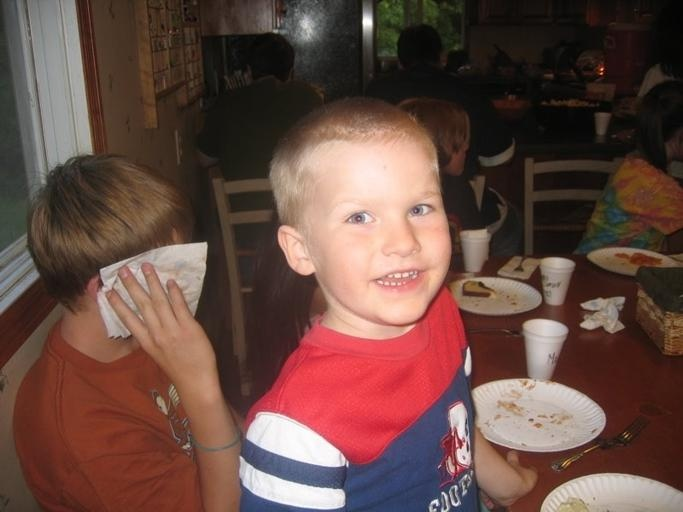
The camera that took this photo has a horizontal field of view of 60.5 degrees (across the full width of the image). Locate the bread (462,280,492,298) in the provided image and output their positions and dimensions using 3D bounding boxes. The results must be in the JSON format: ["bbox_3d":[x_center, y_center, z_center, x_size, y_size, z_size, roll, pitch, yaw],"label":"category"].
[{"bbox_3d":[0.494,0.117,2.117,0.075,0.030,0.061,3,14,-3],"label":"bread"}]

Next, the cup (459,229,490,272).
[{"bbox_3d":[0.523,-0.020,2.305,0.106,0.127,0.113,-2,18,1],"label":"cup"}]

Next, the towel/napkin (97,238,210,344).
[{"bbox_3d":[-0.477,0.088,1.430,0.227,0.198,0.040,-16,32,-23],"label":"towel/napkin"}]

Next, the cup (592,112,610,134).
[{"bbox_3d":[1.851,-0.930,4.175,0.140,0.145,0.138,1,7,0],"label":"cup"}]

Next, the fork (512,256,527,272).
[{"bbox_3d":[0.709,0.030,2.332,0.032,0.012,0.110,-2,21,20],"label":"fork"}]

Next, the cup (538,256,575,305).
[{"bbox_3d":[0.731,0.086,2.004,0.145,0.165,0.146,1,5,0],"label":"cup"}]

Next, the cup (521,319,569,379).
[{"bbox_3d":[0.571,0.261,1.733,0.149,0.167,0.151,-1,8,0],"label":"cup"}]

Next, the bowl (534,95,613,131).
[{"bbox_3d":[1.645,-1.024,4.265,0.361,0.139,0.296,0,19,5],"label":"bowl"}]

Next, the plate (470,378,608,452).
[{"bbox_3d":[0.489,0.389,1.534,0.324,0.039,0.328,10,11,36],"label":"plate"}]
